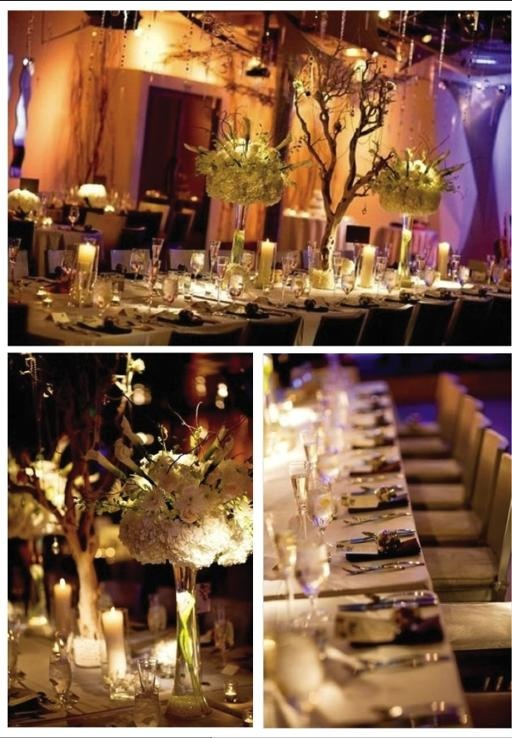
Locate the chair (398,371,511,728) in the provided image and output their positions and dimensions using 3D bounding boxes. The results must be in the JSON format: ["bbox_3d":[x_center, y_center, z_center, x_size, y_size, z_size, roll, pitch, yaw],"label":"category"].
[{"bbox_3d":[0.581,0.505,1.736,0.252,0.487,0.773,1,19,4],"label":"chair"}]

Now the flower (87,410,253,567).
[{"bbox_3d":[-0.207,0.304,1.546,0.398,0.343,0.418,5,-1,-14],"label":"flower"}]

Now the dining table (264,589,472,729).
[{"bbox_3d":[0.244,0.718,1.427,0.470,0.367,0.226,5,9,3],"label":"dining table"}]

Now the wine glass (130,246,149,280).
[{"bbox_3d":[-0.431,-0.397,2.258,0.043,0.100,0.171,-1,10,-28],"label":"wine glass"}]

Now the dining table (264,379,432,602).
[{"bbox_3d":[0.222,0.486,1.799,0.433,0.244,1.014,1,45,6],"label":"dining table"}]

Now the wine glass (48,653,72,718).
[{"bbox_3d":[-0.540,0.848,1.660,0.061,0.160,0.099,1,10,-18],"label":"wine glass"}]

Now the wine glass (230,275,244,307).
[{"bbox_3d":[-0.075,-0.305,2.270,0.048,0.100,0.161,4,9,2],"label":"wine glass"}]

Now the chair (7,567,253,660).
[{"bbox_3d":[-0.398,0.749,1.842,0.720,0.317,0.173,0,-10,7],"label":"chair"}]

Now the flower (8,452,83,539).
[{"bbox_3d":[-0.688,0.391,1.899,0.197,0.255,0.091,2,-8,-13],"label":"flower"}]
